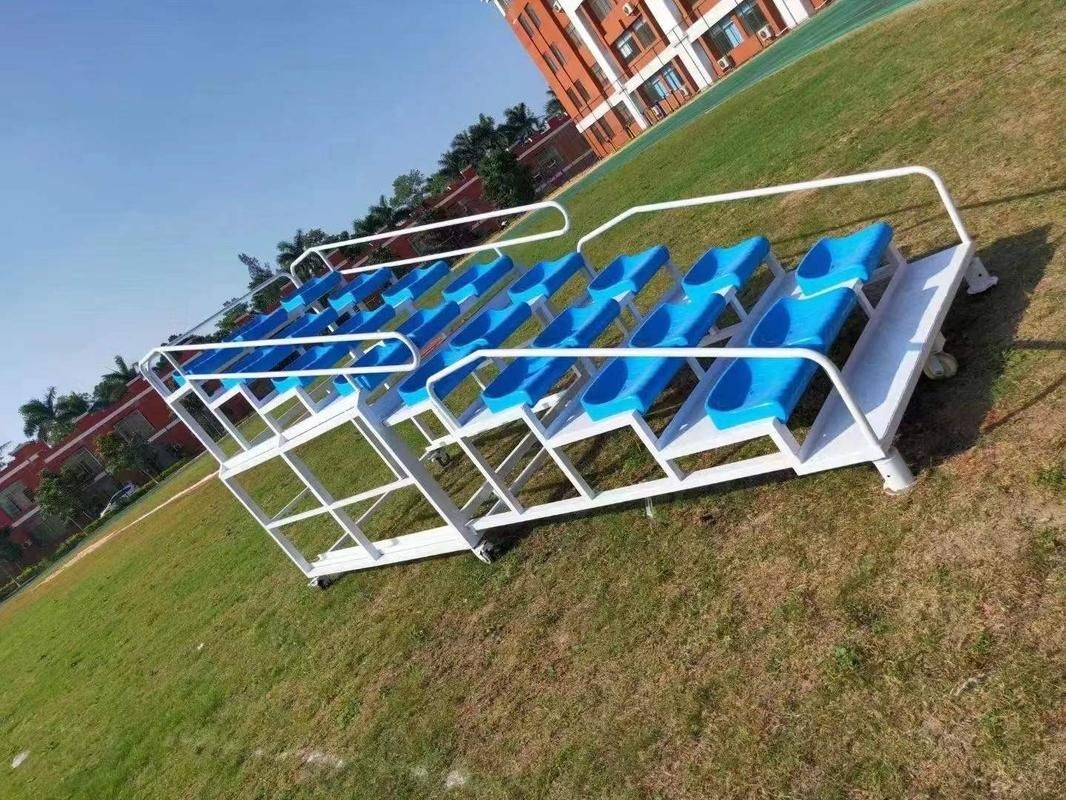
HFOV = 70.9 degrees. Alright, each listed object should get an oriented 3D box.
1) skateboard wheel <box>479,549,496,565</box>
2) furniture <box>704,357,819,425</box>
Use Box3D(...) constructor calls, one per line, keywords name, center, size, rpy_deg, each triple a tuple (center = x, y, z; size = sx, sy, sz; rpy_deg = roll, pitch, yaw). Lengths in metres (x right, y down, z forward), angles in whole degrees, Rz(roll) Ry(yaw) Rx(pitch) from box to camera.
Box3D(name="skateboard wheel", center=(-0.403, 1.361, 6.545), size=(0.147, 0.062, 0.118), rpy_deg=(-1, 9, 13))
Box3D(name="furniture", center=(1.427, -0.112, 4.681), size=(0.689, 0.489, 0.179), rpy_deg=(87, -165, -60))
